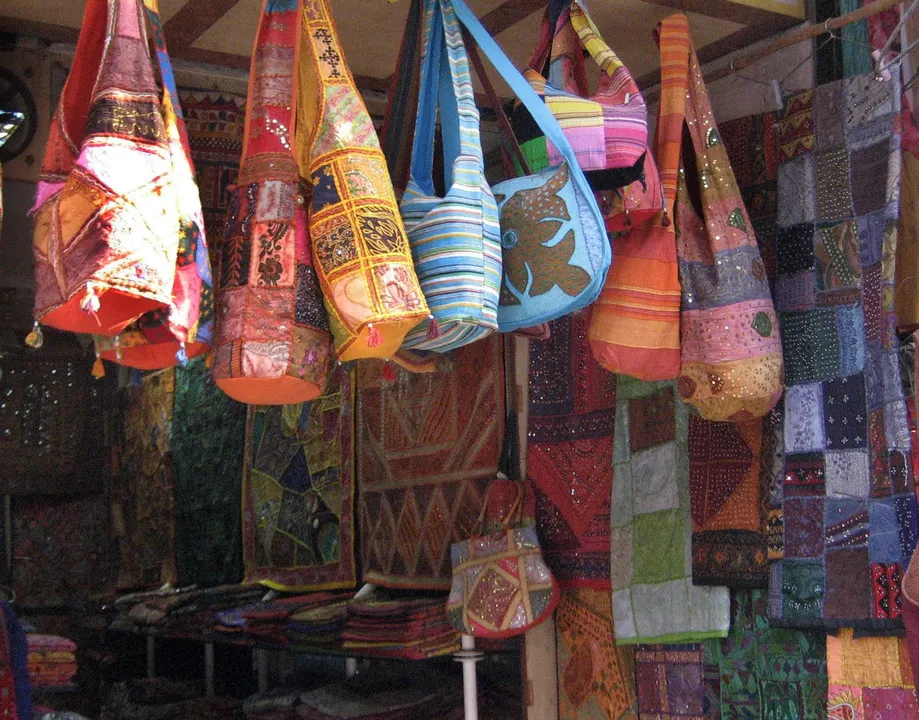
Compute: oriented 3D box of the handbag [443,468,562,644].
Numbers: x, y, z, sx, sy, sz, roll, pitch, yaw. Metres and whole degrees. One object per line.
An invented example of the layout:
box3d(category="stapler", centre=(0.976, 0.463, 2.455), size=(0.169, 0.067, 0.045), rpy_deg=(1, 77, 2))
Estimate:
box3d(category="handbag", centre=(0.155, 0.772, 4.129), size=(0.414, 0.633, 0.516), rpy_deg=(-1, -7, -2))
